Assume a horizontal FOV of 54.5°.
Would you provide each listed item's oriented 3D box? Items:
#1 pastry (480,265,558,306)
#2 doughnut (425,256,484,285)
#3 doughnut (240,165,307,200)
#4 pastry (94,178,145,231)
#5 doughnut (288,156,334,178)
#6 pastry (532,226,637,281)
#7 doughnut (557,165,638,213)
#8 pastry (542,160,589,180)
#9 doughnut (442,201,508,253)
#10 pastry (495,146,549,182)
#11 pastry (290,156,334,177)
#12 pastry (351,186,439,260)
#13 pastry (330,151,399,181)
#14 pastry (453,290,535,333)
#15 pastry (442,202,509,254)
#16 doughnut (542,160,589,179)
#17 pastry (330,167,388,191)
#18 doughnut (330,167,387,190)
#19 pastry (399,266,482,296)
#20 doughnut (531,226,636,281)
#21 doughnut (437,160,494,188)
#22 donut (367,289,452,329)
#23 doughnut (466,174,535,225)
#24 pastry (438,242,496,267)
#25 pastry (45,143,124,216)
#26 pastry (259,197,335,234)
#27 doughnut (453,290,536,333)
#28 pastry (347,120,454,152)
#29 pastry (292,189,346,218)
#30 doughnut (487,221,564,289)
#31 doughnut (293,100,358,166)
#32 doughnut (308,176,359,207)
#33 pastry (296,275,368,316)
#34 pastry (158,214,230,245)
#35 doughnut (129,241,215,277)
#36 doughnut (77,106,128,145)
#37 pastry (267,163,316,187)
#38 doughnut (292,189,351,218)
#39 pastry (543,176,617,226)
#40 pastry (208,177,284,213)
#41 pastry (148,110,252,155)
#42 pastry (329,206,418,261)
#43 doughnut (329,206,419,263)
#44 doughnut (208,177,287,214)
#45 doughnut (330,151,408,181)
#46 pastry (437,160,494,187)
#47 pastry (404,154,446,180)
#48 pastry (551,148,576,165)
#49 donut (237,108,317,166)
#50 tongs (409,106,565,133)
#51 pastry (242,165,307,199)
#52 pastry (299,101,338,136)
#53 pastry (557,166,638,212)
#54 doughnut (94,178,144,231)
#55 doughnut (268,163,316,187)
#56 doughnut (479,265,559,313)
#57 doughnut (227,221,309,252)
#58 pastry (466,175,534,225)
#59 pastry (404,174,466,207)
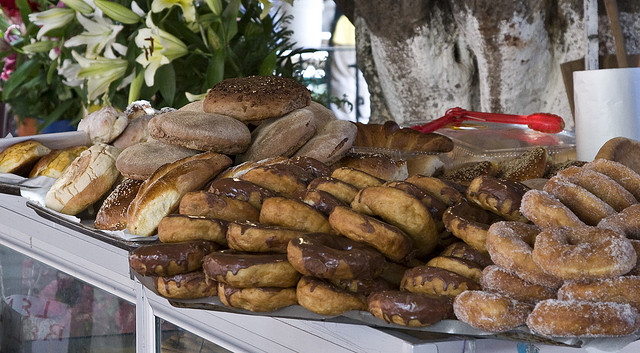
[{"bbox_3d":[0.386,0.193,1.204,0.092,0.030,0.088,21,-7,-37],"label":"pastry"},{"bbox_3d":[0.281,0.177,1.256,0.068,0.022,0.068,5,-14,42],"label":"doughnut"},{"bbox_3d":[-0.096,-0.003,1.419,0.090,0.030,0.090,15,-14,42],"label":"doughnut"},{"bbox_3d":[-0.487,0.068,1.569,0.039,0.128,0.100,39,-21,-31],"label":"pastry"},{"bbox_3d":[-0.018,-0.024,1.461,0.069,0.022,0.057,21,2,0],"label":"doughnut"},{"bbox_3d":[0.495,0.146,1.170,0.130,0.043,0.126,-9,21,-11],"label":"pastry"},{"bbox_3d":[0.571,0.020,1.274,0.114,0.033,0.104,30,-5,-3],"label":"doughnut"},{"bbox_3d":[0.617,-0.021,1.551,0.076,0.024,0.065,-17,-3,32],"label":"pastry"},{"bbox_3d":[0.329,0.097,1.324,0.153,0.054,0.142,-8,20,-42],"label":"doughnut"},{"bbox_3d":[0.502,-0.021,1.572,0.121,0.043,0.092,-9,8,46],"label":"pastry"},{"bbox_3d":[-0.020,-0.025,1.461,0.069,0.022,0.053,22,4,3],"label":"pastry"},{"bbox_3d":[0.160,0.086,1.291,0.150,0.050,0.148,41,-18,-27],"label":"pastry"},{"bbox_3d":[0.124,-0.031,1.604,0.185,0.064,0.127,11,6,19],"label":"pastry"},{"bbox_3d":[0.334,0.257,1.188,0.152,0.073,0.043,-5,17,7],"label":"pastry"},{"bbox_3d":[0.314,0.096,1.298,0.112,0.044,0.111,22,-7,47],"label":"pastry"},{"bbox_3d":[0.618,-0.027,1.557,0.072,0.023,0.061,-12,0,15],"label":"doughnut"},{"bbox_3d":[0.084,0.004,1.402,0.066,0.021,0.066,19,-4,-15],"label":"pastry"},{"bbox_3d":[0.082,0.004,1.400,0.068,0.020,0.068,17,-5,-23],"label":"doughnut"},{"bbox_3d":[0.257,0.225,1.292,0.167,0.054,0.157,8,-13,13],"label":"pastry"},{"bbox_3d":[0.497,0.146,1.170,0.127,0.042,0.123,-9,23,-4],"label":"doughnut"},{"bbox_3d":[0.378,-0.017,1.616,0.123,0.044,0.072,-15,6,29],"label":"doughnut"},{"bbox_3d":[0.161,0.243,1.209,0.105,0.031,0.087,3,-3,22],"label":"donut"},{"bbox_3d":[0.363,0.058,1.331,0.123,0.044,0.115,-23,7,-7],"label":"doughnut"},{"bbox_3d":[0.304,0.158,1.269,0.059,0.020,0.060,20,-13,7],"label":"pastry"},{"bbox_3d":[-0.627,0.004,1.667,0.062,0.205,0.152,44,-7,-30],"label":"pastry"},{"bbox_3d":[-0.049,0.064,1.336,0.093,0.032,0.098,9,-16,29],"label":"pastry"},{"bbox_3d":[0.355,0.261,1.240,0.162,0.059,0.125,-2,3,-44],"label":"doughnut"},{"bbox_3d":[0.196,-0.124,1.778,0.351,0.082,0.068,5,5,10],"label":"pastry"},{"bbox_3d":[0.001,0.054,1.334,0.083,0.027,0.063,24,-6,-1],"label":"pastry"},{"bbox_3d":[0.394,0.136,1.260,0.135,0.046,0.143,-8,-20,-42],"label":"doughnut"},{"bbox_3d":[0.040,-0.120,1.619,0.169,0.056,0.164,-40,37,-21],"label":"doughnut"},{"bbox_3d":[0.029,0.030,1.362,0.073,0.025,0.072,22,-6,-1],"label":"doughnut"},{"bbox_3d":[0.020,0.258,1.261,0.097,0.032,0.096,19,-5,-36],"label":"pastry"},{"bbox_3d":[-0.263,0.124,1.452,0.225,0.078,0.231,0,-3,-7],"label":"pastry"},{"bbox_3d":[-0.353,0.192,1.372,0.127,0.042,0.121,1,-1,-44],"label":"doughnut"},{"bbox_3d":[-0.620,-0.130,1.821,0.129,0.043,0.108,-32,28,0],"label":"doughnut"},{"bbox_3d":[-0.054,-0.011,1.434,0.068,0.022,0.059,19,-1,4],"label":"pastry"},{"bbox_3d":[0.000,0.055,1.333,0.076,0.025,0.076,24,-11,-10],"label":"doughnut"},{"bbox_3d":[0.534,0.047,1.332,0.185,0.049,0.180,-15,6,25],"label":"pastry"},{"bbox_3d":[-0.171,0.031,1.383,0.101,0.030,0.088,18,-7,2],"label":"pastry"},{"bbox_3d":[-0.304,-0.129,1.655,0.282,0.092,0.248,-6,19,-36],"label":"pastry"},{"bbox_3d":[0.101,0.113,1.337,0.187,0.059,0.183,16,9,-36],"label":"pastry"},{"bbox_3d":[0.107,0.121,1.356,0.214,0.069,0.208,21,1,-1],"label":"doughnut"},{"bbox_3d":[-0.168,0.029,1.430,0.166,0.049,0.132,5,20,26],"label":"doughnut"},{"bbox_3d":[0.119,-0.029,1.612,0.198,0.065,0.140,7,10,30],"label":"doughnut"},{"bbox_3d":[0.377,-0.017,1.616,0.124,0.043,0.073,-13,4,35],"label":"pastry"},{"bbox_3d":[0.276,-0.027,1.616,0.070,0.023,0.069,-5,13,-30],"label":"pastry"},{"bbox_3d":[0.657,-0.057,1.680,0.056,0.040,0.056,1,-10,-7],"label":"pastry"},{"bbox_3d":[-0.114,-0.075,1.608,0.181,0.054,0.138,-22,20,7],"label":"donut"},{"bbox_3d":[0.553,-0.182,1.982,0.398,0.054,0.140,-3,22,35],"label":"tongs"},{"bbox_3d":[-0.103,0.006,1.410,0.088,0.029,0.089,17,-10,20],"label":"pastry"},{"bbox_3d":[0.006,-0.163,1.689,0.095,0.030,0.093,-11,37,-26],"label":"pastry"},{"bbox_3d":[0.572,0.022,1.274,0.113,0.034,0.103,30,-4,-5],"label":"pastry"},{"bbox_3d":[-0.487,0.072,1.572,0.039,0.125,0.100,40,-21,-30],"label":"doughnut"},{"bbox_3d":[-0.070,0.005,1.435,0.065,0.021,0.057,18,1,10],"label":"doughnut"},{"bbox_3d":[0.389,0.199,1.197,0.097,0.032,0.098,17,-7,1],"label":"doughnut"},{"bbox_3d":[-0.124,0.151,1.373,0.195,0.061,0.193,7,-11,-1],"label":"doughnut"},{"bbox_3d":[0.391,0.054,1.376,0.184,0.061,0.194,10,1,8],"label":"pastry"},{"bbox_3d":[0.258,0.018,1.344,0.084,0.027,0.084,19,-4,21],"label":"pastry"}]
